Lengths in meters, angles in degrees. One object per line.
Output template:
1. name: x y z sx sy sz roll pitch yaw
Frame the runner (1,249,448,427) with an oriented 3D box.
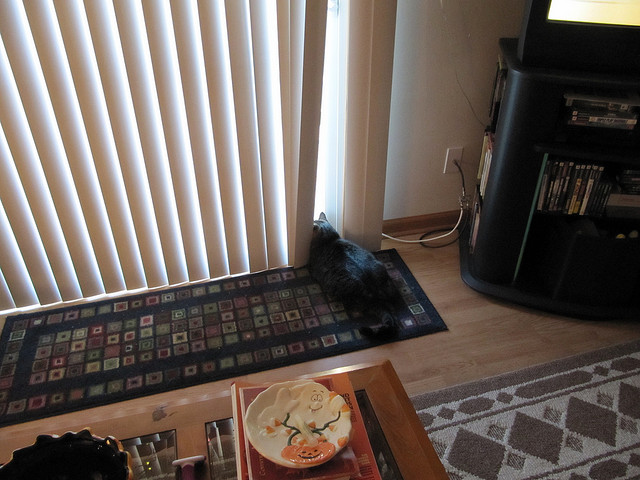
1. runner: -0.616 0.415 2.021 1.584 0.016 0.485 -11 45 -13

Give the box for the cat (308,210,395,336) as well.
1. cat: 0.141 0.151 2.154 0.265 0.303 0.602 -33 65 -3

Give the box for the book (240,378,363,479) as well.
1. book: -0.056 0.451 1.094 0.245 0.089 0.255 -9 32 -12

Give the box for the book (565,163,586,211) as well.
1. book: 0.996 -0.209 1.830 0.038 0.157 0.032 -1 30 -3

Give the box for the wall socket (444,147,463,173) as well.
1. wall socket: 0.676 -0.414 2.368 0.102 0.167 0.041 -9 37 -12
